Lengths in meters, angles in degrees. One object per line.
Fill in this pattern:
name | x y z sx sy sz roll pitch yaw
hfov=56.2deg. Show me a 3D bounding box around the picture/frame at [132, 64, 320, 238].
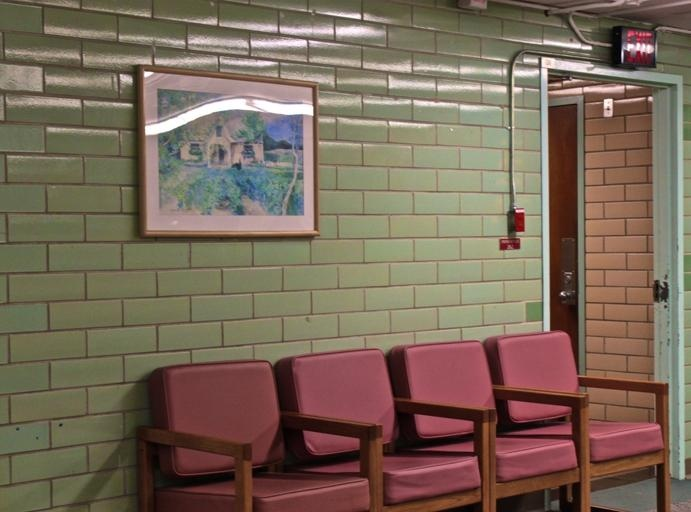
picture/frame | -0.597 -0.569 3.584 1.143 0.846 0.194 6 13 24
